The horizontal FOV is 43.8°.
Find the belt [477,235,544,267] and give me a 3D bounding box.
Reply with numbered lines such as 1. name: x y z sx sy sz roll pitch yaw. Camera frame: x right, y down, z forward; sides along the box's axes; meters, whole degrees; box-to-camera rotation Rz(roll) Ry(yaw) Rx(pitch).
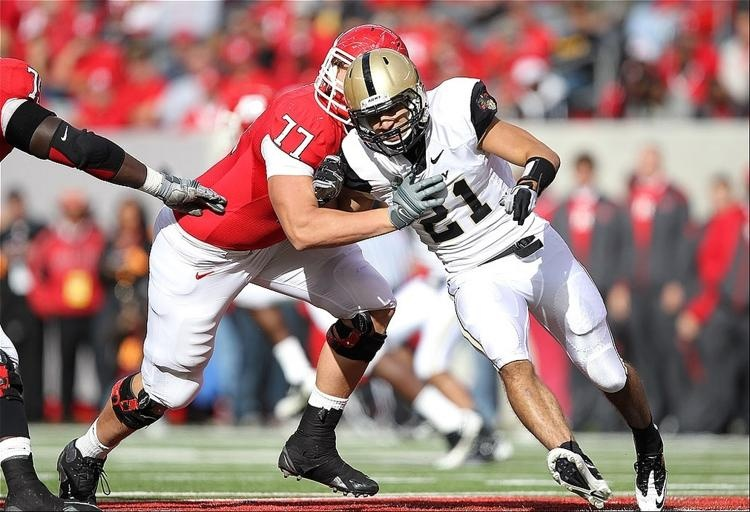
1. belt: 0.754 -0.024 4.950 0.195 0.048 0.146 -27 11 4

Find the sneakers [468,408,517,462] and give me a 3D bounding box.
1. sneakers: 0.883 1.399 7.051 0.186 0.240 0.552 1 2 38

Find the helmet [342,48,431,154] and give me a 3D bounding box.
1. helmet: 0.078 -0.762 4.756 0.379 0.428 0.522 -19 40 19

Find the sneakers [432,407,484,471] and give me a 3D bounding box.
1. sneakers: 0.633 1.337 6.757 0.195 0.240 0.581 0 7 15

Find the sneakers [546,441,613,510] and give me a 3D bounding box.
1. sneakers: 0.992 1.055 4.632 0.424 0.183 0.194 37 17 -2

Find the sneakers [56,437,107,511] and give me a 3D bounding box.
1. sneakers: -1.624 1.210 5.173 0.191 0.412 0.138 -39 -32 24

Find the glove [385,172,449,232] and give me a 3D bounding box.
1. glove: 0.191 -0.290 4.719 0.300 0.248 0.136 -46 -30 24

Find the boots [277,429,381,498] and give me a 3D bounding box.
1. boots: -0.276 1.198 5.386 0.674 0.378 0.265 19 -16 -1

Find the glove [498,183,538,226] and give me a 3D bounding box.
1. glove: 0.721 -0.248 4.639 0.186 0.187 0.080 -42 -16 3

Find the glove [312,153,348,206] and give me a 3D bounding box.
1. glove: -0.228 -0.394 4.875 0.170 0.259 0.092 9 -1 23

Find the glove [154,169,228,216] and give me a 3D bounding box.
1. glove: -1.001 -0.328 5.023 0.340 0.125 0.219 27 12 -29
